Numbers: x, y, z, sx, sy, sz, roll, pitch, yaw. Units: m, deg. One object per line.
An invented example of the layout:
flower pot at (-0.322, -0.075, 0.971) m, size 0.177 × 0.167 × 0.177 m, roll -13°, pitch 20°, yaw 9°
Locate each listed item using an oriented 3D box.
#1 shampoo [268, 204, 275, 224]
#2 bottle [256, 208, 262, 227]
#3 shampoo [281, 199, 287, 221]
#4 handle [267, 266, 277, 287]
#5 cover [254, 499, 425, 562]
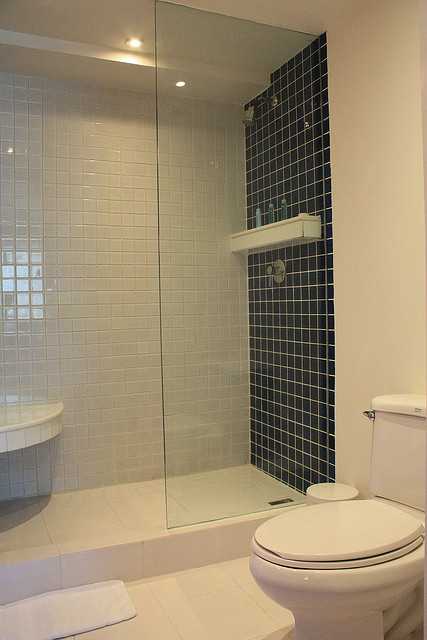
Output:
shampoo at (0.267, -0.484, 2.356) m, size 0.033 × 0.088 × 0.019 m, roll -1°, pitch 4°, yaw -24°
bottle at (0.206, -0.460, 2.333) m, size 0.027 × 0.081 × 0.021 m, roll 0°, pitch 4°, yaw -10°
shampoo at (0.326, -0.508, 2.376) m, size 0.026 × 0.093 × 0.011 m, roll 0°, pitch 4°, yaw -14°
handle at (0.270, -0.199, 2.367) m, size 0.051 × 0.092 × 0.011 m, roll -2°, pitch 5°, yaw -36°
cover at (0.373, 0.598, 1.452) m, size 0.284 × 0.074 × 0.243 m, roll 2°, pitch -7°, yaw -33°
